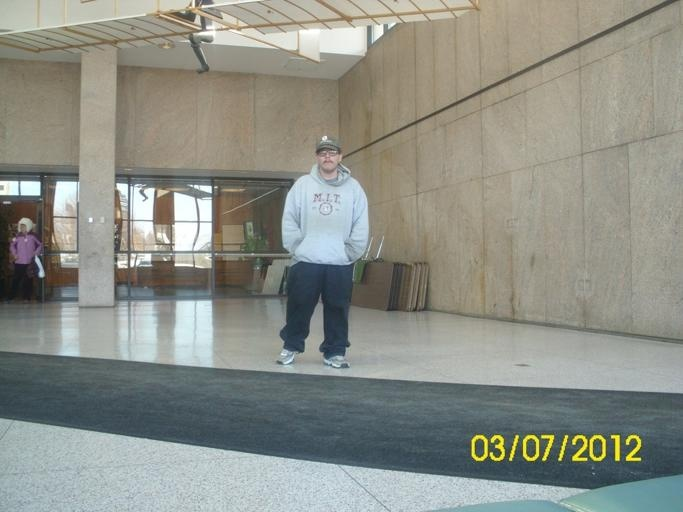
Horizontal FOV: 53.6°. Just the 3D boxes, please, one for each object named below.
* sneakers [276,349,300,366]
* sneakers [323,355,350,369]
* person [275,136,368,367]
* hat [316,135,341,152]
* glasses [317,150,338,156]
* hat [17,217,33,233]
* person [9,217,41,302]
[{"bbox_3d":[-0.485,0.943,6.250,0.087,0.116,0.267,1,-8,17],"label":"sneakers"},{"bbox_3d":[-0.038,0.957,6.098,0.096,0.091,0.208,5,-9,-40],"label":"sneakers"},{"bbox_3d":[-0.179,-0.048,6.149,0.804,2.048,0.402,0,5,10],"label":"person"},{"bbox_3d":[-0.122,-1.008,6.110,0.204,0.141,0.149,-1,6,7],"label":"hat"},{"bbox_3d":[-0.124,-0.914,6.072,0.198,0.066,0.062,-1,6,5],"label":"glasses"},{"bbox_3d":[-6.481,-0.632,13.937,0.247,0.317,0.345,6,-6,-18],"label":"hat"},{"bbox_3d":[-6.550,0.067,14.033,0.612,1.683,0.869,-4,6,-26],"label":"person"}]
